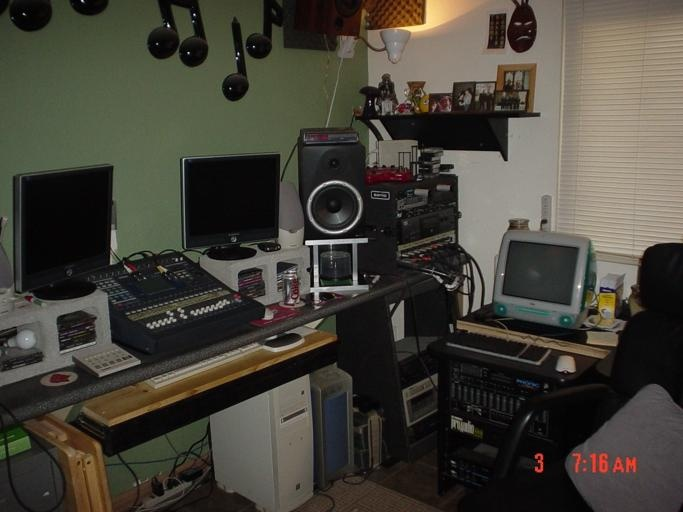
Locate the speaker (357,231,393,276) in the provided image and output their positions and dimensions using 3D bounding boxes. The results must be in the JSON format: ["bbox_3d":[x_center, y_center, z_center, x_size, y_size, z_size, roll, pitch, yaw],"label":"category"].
[{"bbox_3d":[0.201,-0.016,3.017,0.243,0.219,0.059,4,10,27],"label":"speaker"}]

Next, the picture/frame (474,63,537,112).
[{"bbox_3d":[0.984,-0.993,3.158,0.341,0.338,0.025,5,1,38],"label":"picture/frame"}]

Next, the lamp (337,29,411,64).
[{"bbox_3d":[0.212,-1.317,3.461,0.435,0.180,0.219,5,12,29],"label":"lamp"}]

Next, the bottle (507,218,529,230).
[{"bbox_3d":[1.035,-0.183,3.129,0.091,0.085,0.090,-3,4,-42],"label":"bottle"}]

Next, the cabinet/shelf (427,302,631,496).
[{"bbox_3d":[0.930,0.682,2.987,0.729,0.980,1.051,8,13,37],"label":"cabinet/shelf"}]

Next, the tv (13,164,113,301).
[{"bbox_3d":[-1.116,-0.092,2.127,0.054,0.509,0.535,9,12,26],"label":"tv"}]

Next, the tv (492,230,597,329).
[{"bbox_3d":[1.022,0.038,2.875,0.542,0.576,0.487,6,8,37],"label":"tv"}]

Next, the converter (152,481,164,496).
[{"bbox_3d":[-0.979,1.248,2.837,0.059,0.057,0.031,-3,-9,21],"label":"converter"}]

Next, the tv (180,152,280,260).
[{"bbox_3d":[-0.554,-0.251,2.642,0.522,0.445,0.051,-8,17,-30],"label":"tv"}]

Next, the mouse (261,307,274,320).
[{"bbox_3d":[-0.355,0.277,2.551,0.050,0.053,0.049,-1,2,-5],"label":"mouse"}]
